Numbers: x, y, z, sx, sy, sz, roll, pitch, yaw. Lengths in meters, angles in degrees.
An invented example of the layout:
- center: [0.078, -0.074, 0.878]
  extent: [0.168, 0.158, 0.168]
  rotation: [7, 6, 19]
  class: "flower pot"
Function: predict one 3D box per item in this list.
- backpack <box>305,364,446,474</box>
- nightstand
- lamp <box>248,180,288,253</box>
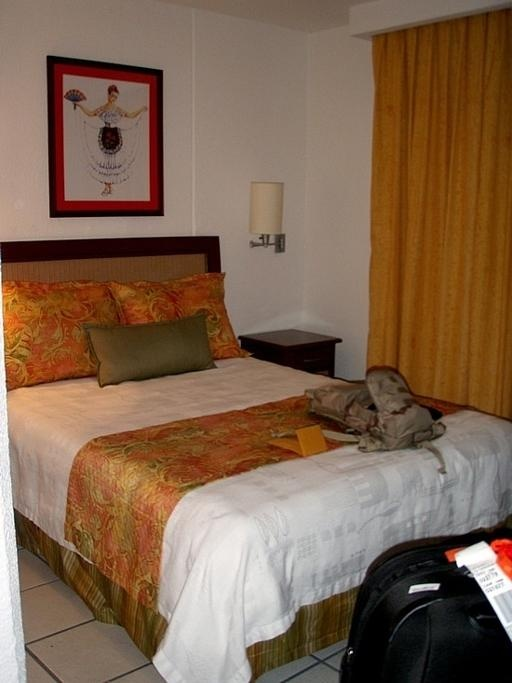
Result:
- center: [0.570, 0.312, 2.362]
  extent: [0.485, 0.225, 0.636]
  rotation: [-8, 24, -25]
  class: "backpack"
- center: [0.258, 0.034, 4.217]
  extent: [0.479, 0.492, 0.511]
  rotation: [-7, 14, -42]
  class: "nightstand"
- center: [0.093, -0.919, 3.953]
  extent: [0.313, 0.498, 0.251]
  rotation: [1, 14, -6]
  class: "lamp"
